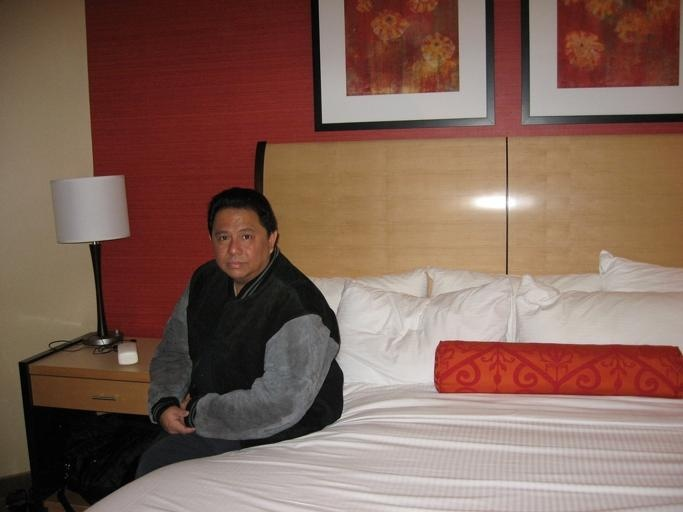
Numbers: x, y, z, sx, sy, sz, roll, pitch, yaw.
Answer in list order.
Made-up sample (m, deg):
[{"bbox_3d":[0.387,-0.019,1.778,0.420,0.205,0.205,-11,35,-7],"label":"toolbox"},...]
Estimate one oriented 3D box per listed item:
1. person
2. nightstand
[{"bbox_3d":[-0.435,0.218,2.147,0.797,0.986,0.486,2,9,30],"label":"person"},{"bbox_3d":[-1.312,0.879,3.114,0.795,0.741,0.571,4,15,-5],"label":"nightstand"}]
